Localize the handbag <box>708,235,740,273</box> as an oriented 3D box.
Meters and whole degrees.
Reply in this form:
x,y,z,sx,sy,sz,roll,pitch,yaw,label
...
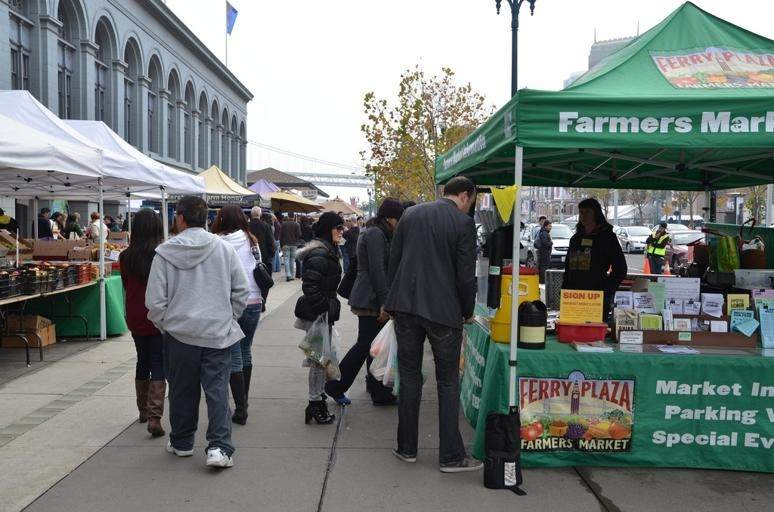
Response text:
x,y,z,sx,sy,sz,roll,pitch,yaw,label
3.918,-0.028,7.676,0.335,0.376,0.347,-2,2,25,handbag

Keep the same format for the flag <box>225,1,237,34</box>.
x,y,z,sx,sy,sz,roll,pitch,yaw,label
-11.254,-17.437,47.654,0.652,2.400,3.300,-3,11,-14,flag

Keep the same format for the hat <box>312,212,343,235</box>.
x,y,z,sx,sy,sz,roll,pitch,yaw,label
-0.671,-0.390,7.568,0.317,0.249,0.230,-9,8,0,hat

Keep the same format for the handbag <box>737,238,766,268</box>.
x,y,z,sx,sy,sz,roll,pitch,yaw,label
4.175,-0.026,7.503,0.324,0.431,0.249,1,-10,5,handbag

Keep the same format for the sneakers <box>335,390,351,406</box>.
x,y,z,sx,sy,sz,roll,pitch,yaw,label
-0.519,1.782,8.180,0.213,0.152,0.087,-22,9,-31,sneakers

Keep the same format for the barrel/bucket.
x,y,z,sx,sy,sz,roll,pitch,yaw,label
1.332,0.534,6.842,0.555,0.785,0.588,0,-3,0,barrel/bucket

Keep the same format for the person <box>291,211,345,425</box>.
x,y,z,sx,sy,sz,roll,pitch,yaw,label
-0.771,0.728,7.554,0.486,2.442,0.634,6,12,28,person

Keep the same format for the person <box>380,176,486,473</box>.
x,y,z,sx,sy,sz,roll,pitch,yaw,label
0.466,0.681,6.566,0.938,2.849,0.725,0,10,2,person

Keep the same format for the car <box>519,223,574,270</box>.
x,y,z,sx,sy,sz,roll,pitch,yaw,label
6.013,-0.460,24.078,1.847,1.747,3.715,0,-4,-6,car

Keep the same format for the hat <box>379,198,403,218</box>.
x,y,z,sx,sy,sz,roll,pitch,yaw,label
0.055,-0.573,7.808,0.279,0.210,0.200,-2,12,-12,hat
